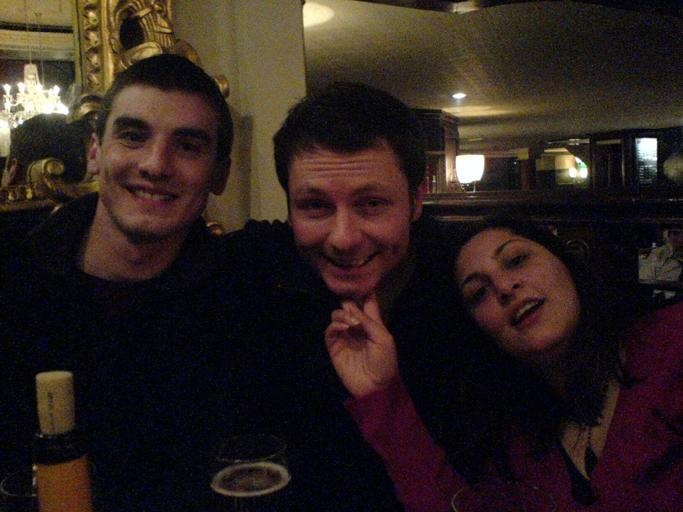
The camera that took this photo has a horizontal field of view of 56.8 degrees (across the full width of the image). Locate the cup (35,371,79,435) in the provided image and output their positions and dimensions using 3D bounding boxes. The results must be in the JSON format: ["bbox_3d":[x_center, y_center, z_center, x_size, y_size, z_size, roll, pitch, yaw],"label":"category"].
[{"bbox_3d":[-0.361,0.175,0.799,0.042,0.077,0.113,-3,5,-25],"label":"cup"}]
